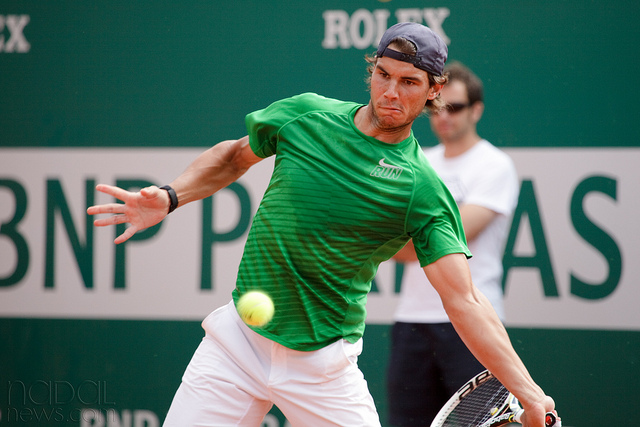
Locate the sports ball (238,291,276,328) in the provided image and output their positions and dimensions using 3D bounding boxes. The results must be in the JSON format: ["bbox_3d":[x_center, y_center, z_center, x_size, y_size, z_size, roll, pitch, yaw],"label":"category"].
[{"bbox_3d":[-0.383,0.557,4.886,0.171,0.234,0.204,7,-43,-13],"label":"sports ball"}]

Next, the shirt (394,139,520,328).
[{"bbox_3d":[0.915,0.118,5.516,0.711,1.481,1.117,5,-6,-29],"label":"shirt"}]

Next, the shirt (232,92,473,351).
[{"bbox_3d":[0.085,0.057,5.076,1.534,1.629,0.636,26,16,9],"label":"shirt"}]
